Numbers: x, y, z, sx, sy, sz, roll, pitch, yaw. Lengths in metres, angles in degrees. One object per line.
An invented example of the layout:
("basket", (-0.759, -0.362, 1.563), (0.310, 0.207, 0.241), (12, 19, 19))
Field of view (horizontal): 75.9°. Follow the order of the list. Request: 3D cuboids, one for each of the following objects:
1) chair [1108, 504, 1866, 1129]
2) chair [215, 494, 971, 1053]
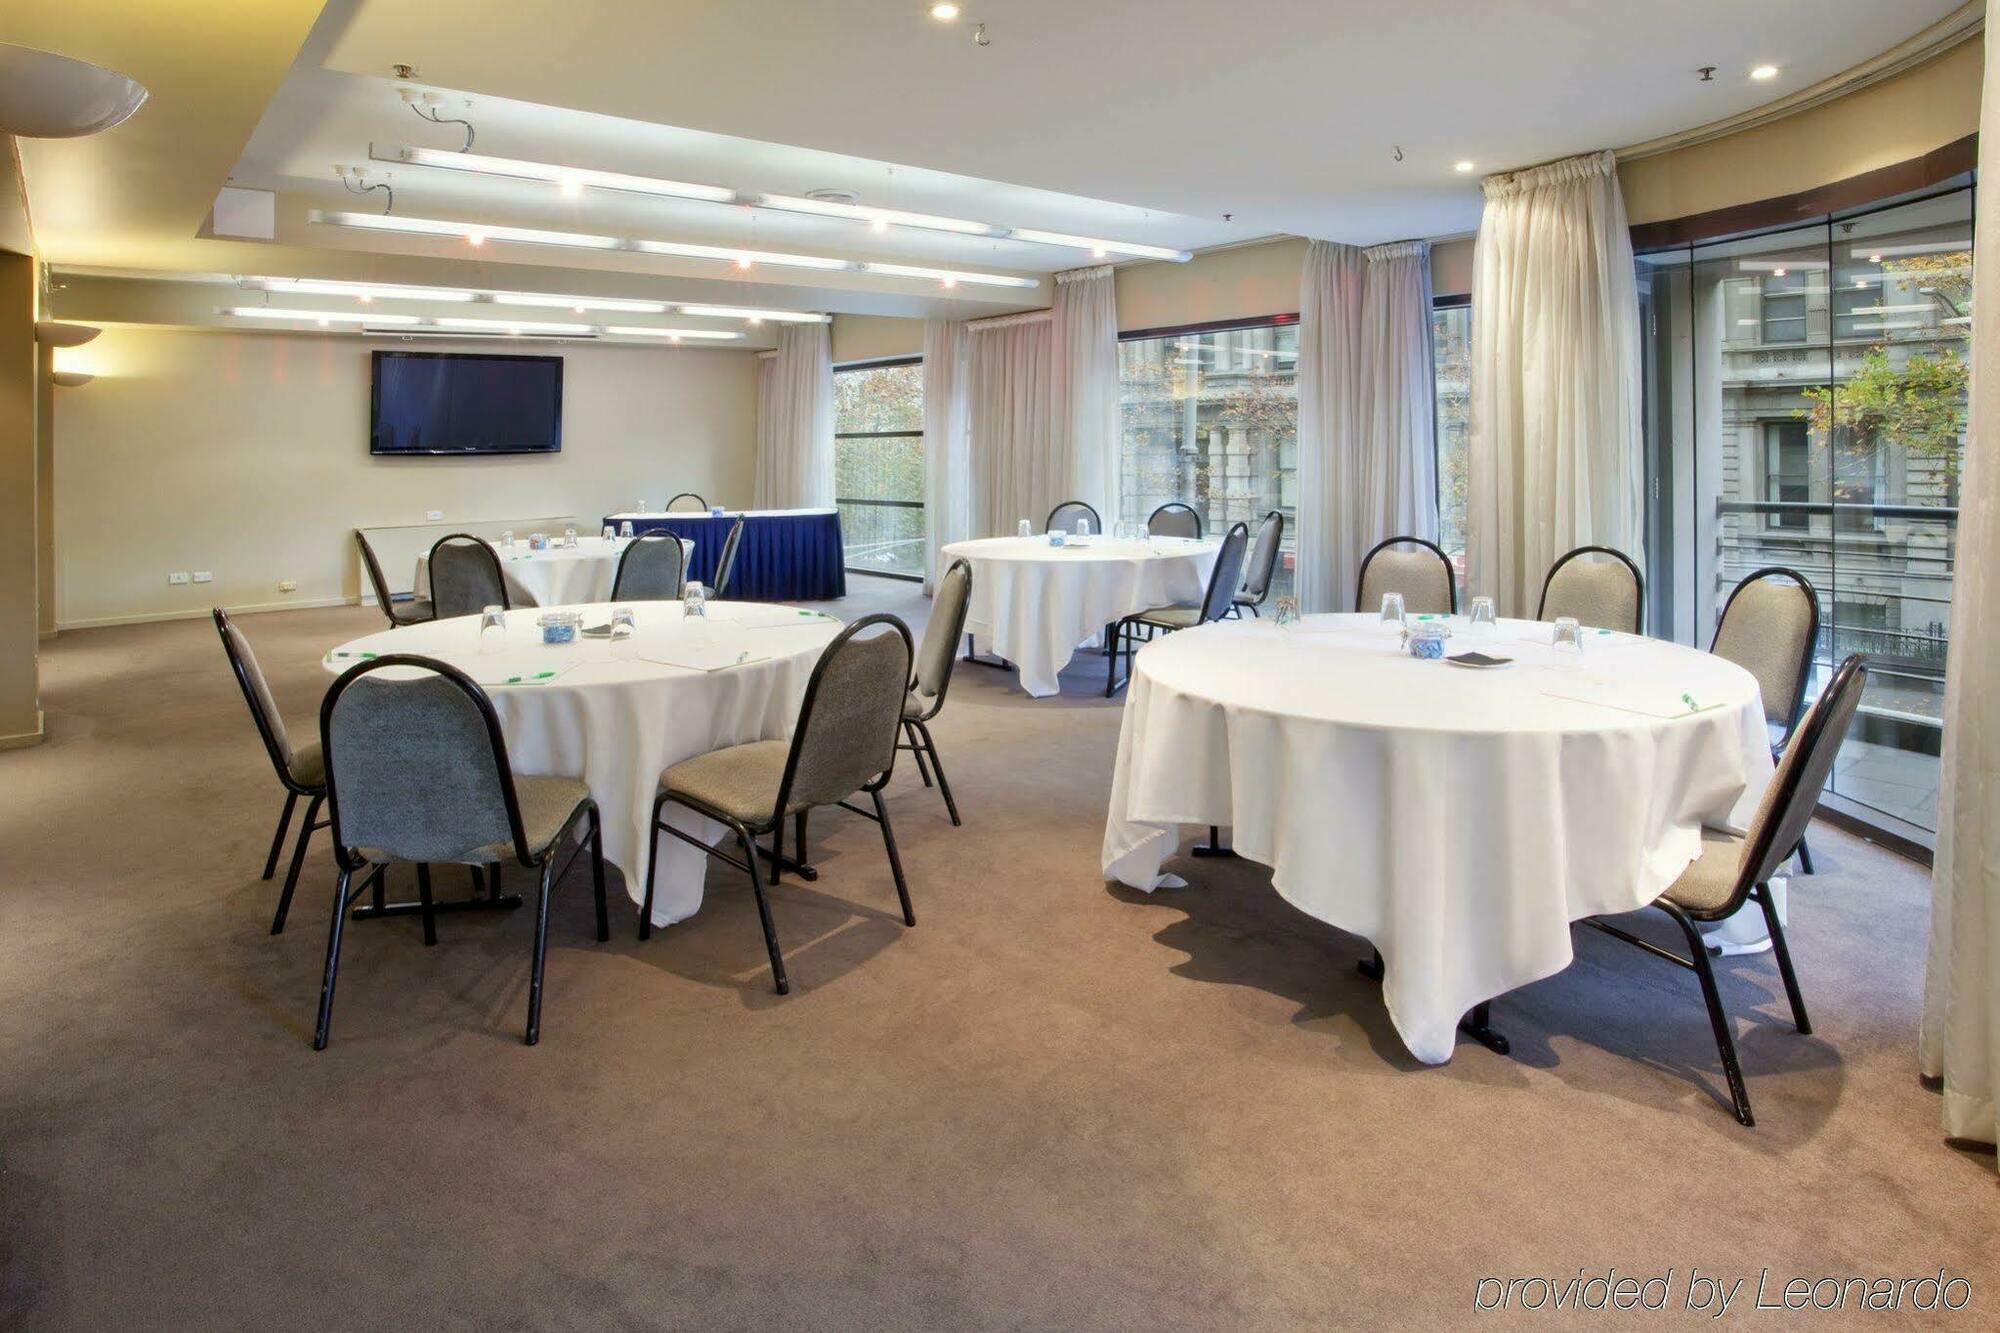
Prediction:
("chair", (1.375, 0.306, 4.113), (1.542, 0.966, 1.851), (-6, 10, -40))
("chair", (-1.420, 0.408, 4.617), (1.956, 1.274, 2.094), (9, 14, 41))
